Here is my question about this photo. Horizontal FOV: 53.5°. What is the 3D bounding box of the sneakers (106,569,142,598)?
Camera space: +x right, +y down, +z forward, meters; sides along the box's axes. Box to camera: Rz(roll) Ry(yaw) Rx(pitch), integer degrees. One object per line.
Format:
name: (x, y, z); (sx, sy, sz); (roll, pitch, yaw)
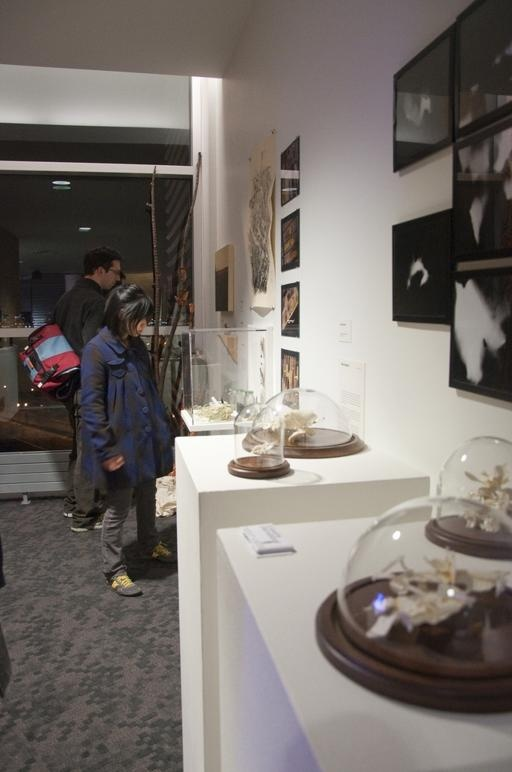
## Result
sneakers: (-0.666, 1.004, 2.567); (0.075, 0.100, 0.195); (1, 5, -42)

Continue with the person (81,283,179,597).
person: (-0.634, 0.270, 2.623); (0.378, 1.547, 0.609); (1, 4, 19)

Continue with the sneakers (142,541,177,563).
sneakers: (-0.562, 0.958, 2.978); (0.170, 0.084, 0.096); (1, 6, 7)

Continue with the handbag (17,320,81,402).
handbag: (-1.399, -0.130, 3.360); (0.168, 0.394, 0.491); (-4, -23, -38)
